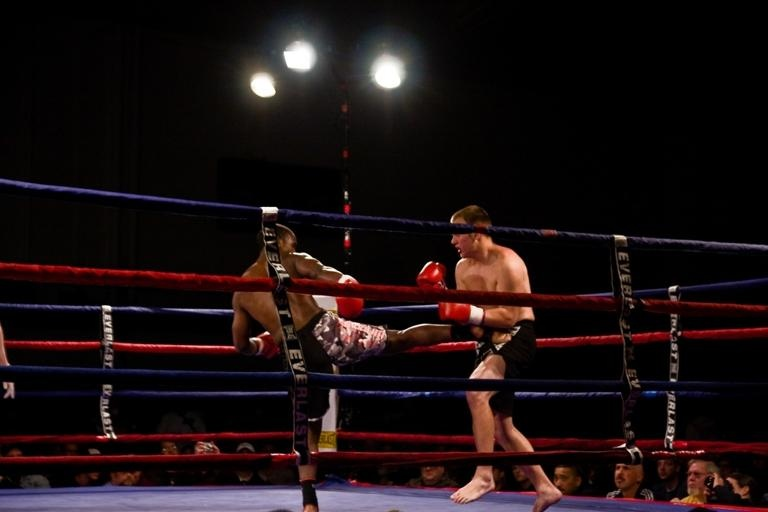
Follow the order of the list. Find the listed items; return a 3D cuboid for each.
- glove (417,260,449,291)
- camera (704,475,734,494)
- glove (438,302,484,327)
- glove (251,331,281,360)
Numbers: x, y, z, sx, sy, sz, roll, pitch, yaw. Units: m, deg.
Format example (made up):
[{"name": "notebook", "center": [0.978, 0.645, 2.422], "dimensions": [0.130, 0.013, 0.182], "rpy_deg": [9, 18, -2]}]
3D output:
[{"name": "glove", "center": [0.326, 0.132, 5.708], "dimensions": [0.208, 0.181, 0.129], "rpy_deg": [-33, -14, 7]}, {"name": "camera", "center": [2.564, 1.753, 6.342], "dimensions": [0.173, 0.050, 0.131], "rpy_deg": [2, -5, 34]}, {"name": "glove", "center": [0.511, 0.392, 5.594], "dimensions": [0.208, 0.141, 0.304], "rpy_deg": [-7, -11, 40]}, {"name": "glove", "center": [-0.867, 0.666, 6.065], "dimensions": [0.184, 0.140, 0.290], "rpy_deg": [28, -2, -16]}]
